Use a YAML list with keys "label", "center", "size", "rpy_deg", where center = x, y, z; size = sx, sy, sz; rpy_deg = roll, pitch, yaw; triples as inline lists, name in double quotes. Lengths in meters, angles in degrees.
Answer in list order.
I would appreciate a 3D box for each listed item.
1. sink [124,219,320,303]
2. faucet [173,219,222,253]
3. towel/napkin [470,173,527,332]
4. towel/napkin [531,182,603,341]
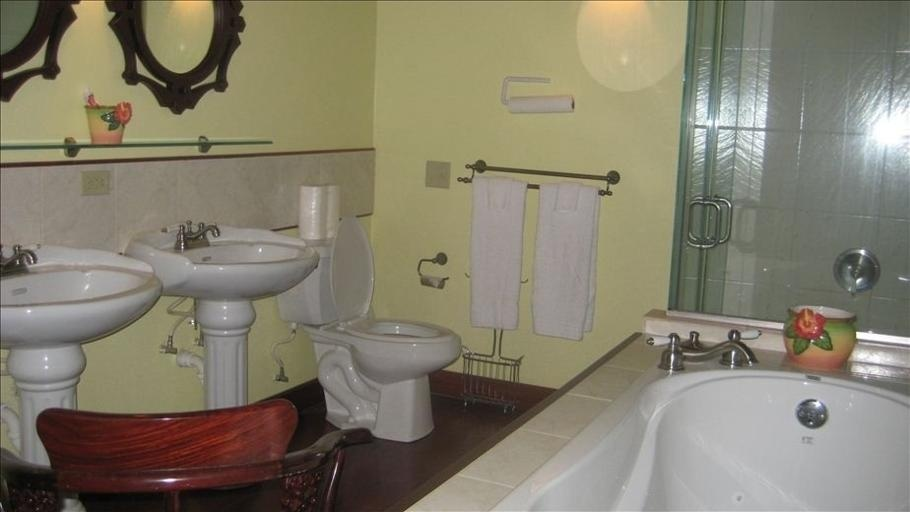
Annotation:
- label: "sink"
  center: [-1.075, 0.040, 3.117]
  size: [0.531, 0.180, 0.528]
  rpy_deg: [6, 9, 11]
- label: "faucet"
  center: [-1.241, -0.088, 3.221]
  size: [0.194, 0.099, 0.188]
  rpy_deg: [0, 5, 22]
- label: "towel/napkin"
  center: [0.259, -0.024, 4.029]
  size: [0.435, 0.900, 0.096]
  rpy_deg: [11, 10, 43]
- label: "towel/napkin"
  center: [0.635, 0.028, 3.874]
  size: [0.354, 0.890, 0.114]
  rpy_deg: [4, 10, 10]
